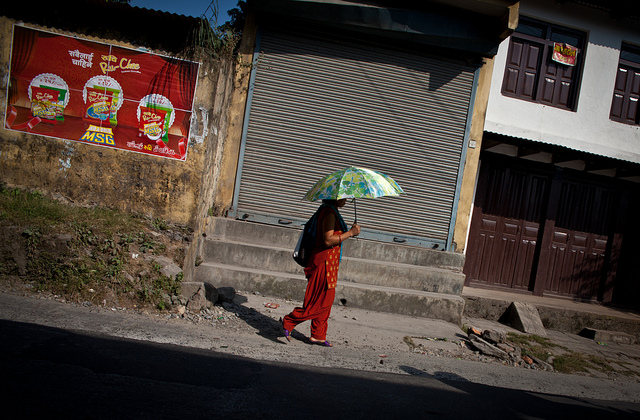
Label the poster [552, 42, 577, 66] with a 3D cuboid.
[{"bbox_3d":[6.345,-4.063,19.293,0.543,0.463,0.075,11,-3,-8],"label":"poster"}]

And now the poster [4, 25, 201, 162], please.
[{"bbox_3d":[-4.700,-2.419,15.552,3.878,2.571,0.184,11,1,-2],"label":"poster"}]
